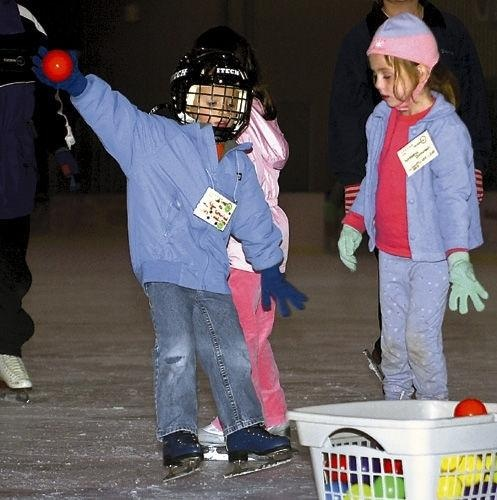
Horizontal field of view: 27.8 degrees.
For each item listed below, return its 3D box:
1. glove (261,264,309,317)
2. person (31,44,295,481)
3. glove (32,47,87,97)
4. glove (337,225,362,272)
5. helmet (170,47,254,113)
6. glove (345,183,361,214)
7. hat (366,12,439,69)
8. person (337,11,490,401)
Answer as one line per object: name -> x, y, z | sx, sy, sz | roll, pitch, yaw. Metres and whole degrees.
glove -> 0.099, 0.134, 2.950 | 0.127, 0.059, 0.152 | -43, 65, -8
person -> -0.172, 0.045, 2.824 | 0.651, 1.231, 0.577 | -11, 16, -22
glove -> -0.495, -0.466, 2.710 | 0.118, 0.145, 0.099 | -41, 18, 1
glove -> 0.329, -0.008, 3.306 | 0.041, 0.135, 0.108 | -5, -22, 18
helmet -> -0.120, -0.501, 2.916 | 0.174, 0.166, 0.217 | 8, -11, -37
glove -> 0.338, -0.174, 3.480 | 0.090, 0.094, 0.089 | -1, -1, 0
hat -> 0.474, -0.649, 3.057 | 0.200, 0.172, 0.144 | -35, 32, -27
person -> 0.509, -0.058, 3.057 | 0.417, 1.288, 0.791 | -5, 15, -2
